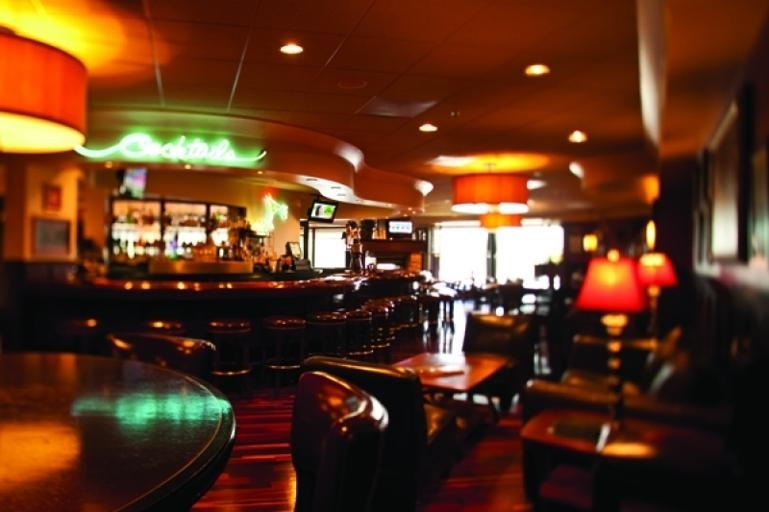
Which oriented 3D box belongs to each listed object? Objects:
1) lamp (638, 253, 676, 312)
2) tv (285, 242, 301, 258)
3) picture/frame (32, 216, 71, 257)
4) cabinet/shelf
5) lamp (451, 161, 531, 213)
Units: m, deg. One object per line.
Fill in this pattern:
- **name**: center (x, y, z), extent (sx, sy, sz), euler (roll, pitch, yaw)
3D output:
- **lamp**: center (3.213, 0.307, 7.580), extent (0.578, 0.621, 0.576), euler (-1, 6, 16)
- **tv**: center (-1.719, -0.104, 11.878), extent (0.158, 0.261, 0.288), euler (-15, -8, 18)
- **picture/frame**: center (-4.619, -0.244, 9.057), extent (0.694, 0.598, 0.386), euler (1, 0, 15)
- **cabinet/shelf**: center (-3.803, -0.409, 11.414), extent (0.581, 1.127, 2.464), euler (2, 2, 39)
- **lamp**: center (2.142, -1.179, 11.467), extent (1.332, 0.523, 1.331), euler (2, 4, 29)
